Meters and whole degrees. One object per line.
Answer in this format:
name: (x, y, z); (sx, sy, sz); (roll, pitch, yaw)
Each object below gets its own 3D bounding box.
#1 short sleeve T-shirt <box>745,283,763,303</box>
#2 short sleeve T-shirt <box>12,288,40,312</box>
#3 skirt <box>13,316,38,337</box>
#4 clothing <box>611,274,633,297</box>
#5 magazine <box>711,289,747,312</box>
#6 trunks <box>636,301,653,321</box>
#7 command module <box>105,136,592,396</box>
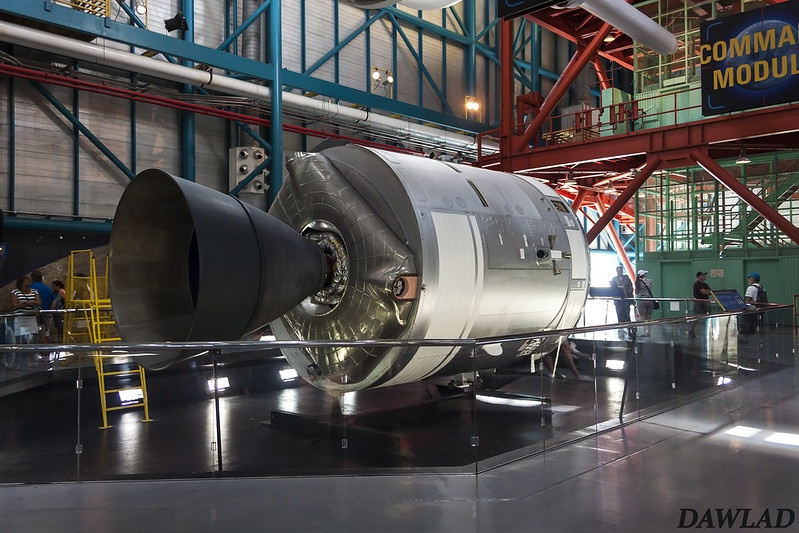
short sleeve T-shirt: (10.145, 0.781, 18.783); (0.620, 0.532, 0.328); (1, 3, -42)
short sleeve T-shirt: (-8.722, 0.789, 15.339); (0.550, 0.584, 0.363); (-3, -20, -47)
skirt: (-7.441, 1.181, 13.082); (0.462, 0.305, 0.585); (11, 4, -11)
clothing: (7.197, 0.659, 21.243); (0.633, 0.507, 0.810); (1, -3, -8)
magazine: (8.015, 0.814, 15.941); (0.617, 0.424, 1.285); (8, 12, 33)
trunks: (6.981, 1.240, 18.719); (0.507, 0.298, 0.921); (6, -35, 19)
command module: (-0.617, -0.019, 10.787); (7.018, 3.049, 3.787); (2, -3, -40)
